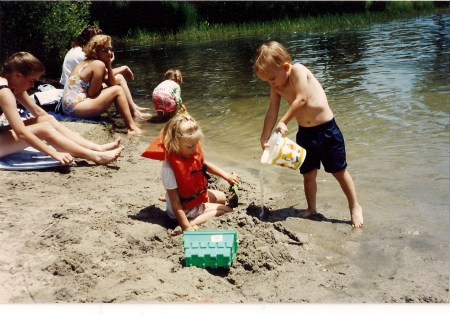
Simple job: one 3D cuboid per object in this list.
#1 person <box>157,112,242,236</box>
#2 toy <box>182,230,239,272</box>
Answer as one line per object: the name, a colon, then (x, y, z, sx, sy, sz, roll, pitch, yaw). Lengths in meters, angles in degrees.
person: (-0.370, 0.174, 5.258, 0.829, 1.326, 0.650, -11, 22, -9)
toy: (-0.168, 1.031, 4.805, 0.605, 0.402, 0.426, 1, 38, 5)
